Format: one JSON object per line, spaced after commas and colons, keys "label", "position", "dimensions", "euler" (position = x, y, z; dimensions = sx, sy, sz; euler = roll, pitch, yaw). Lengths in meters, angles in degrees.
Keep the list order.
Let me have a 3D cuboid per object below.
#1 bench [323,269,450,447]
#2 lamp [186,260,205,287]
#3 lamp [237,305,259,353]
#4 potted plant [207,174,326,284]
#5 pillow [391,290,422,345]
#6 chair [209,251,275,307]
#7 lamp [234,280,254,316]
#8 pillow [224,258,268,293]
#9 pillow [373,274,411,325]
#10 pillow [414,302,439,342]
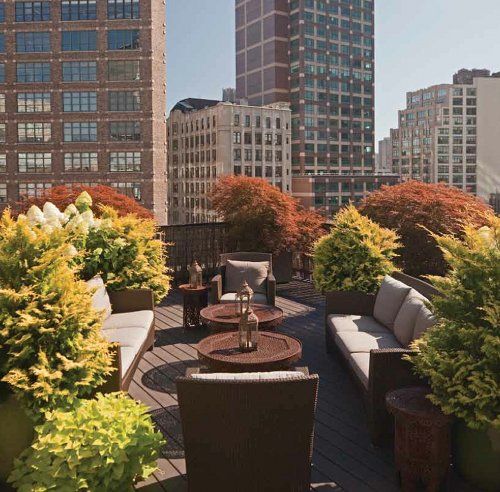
{"label": "bench", "position": [1.141, 0.984, 4.305], "dimensions": [0.450, 0.569, 1.370], "euler": [1, 5, 1]}
{"label": "lamp", "position": [-0.832, 0.426, 7.531], "dimensions": [0.179, 0.338, 0.529], "euler": [-1, 6, -8]}
{"label": "lamp", "position": [-0.015, 0.739, 4.528], "dimensions": [0.214, 0.413, 0.187], "euler": [-7, 13, -21]}
{"label": "potted plant", "position": [0.811, -0.561, 12.489], "dimensions": [3.060, 2.762, 2.364], "euler": [1, -2, -39]}
{"label": "pillow", "position": [1.467, 0.697, 4.797], "dimensions": [0.158, 0.404, 0.412], "euler": [25, 11, 1]}
{"label": "chair", "position": [-0.100, 0.583, 7.649], "dimensions": [1.055, 0.843, 1.013], "euler": [0, 2, -13]}
{"label": "lamp", "position": [-0.071, 0.552, 5.540], "dimensions": [0.179, 0.441, 0.171], "euler": [4, 31, 1]}
{"label": "pillow", "position": [-0.073, 0.467, 7.612], "dimensions": [0.521, 0.187, 0.381], "euler": [1, 50, 3]}
{"label": "pillow", "position": [1.532, 0.595, 5.433], "dimensions": [0.195, 0.371, 0.539], "euler": [4, 0, 2]}
{"label": "pillow", "position": [1.481, 0.657, 4.314], "dimensions": [0.118, 0.389, 0.349], "euler": [14, -4, 19]}
